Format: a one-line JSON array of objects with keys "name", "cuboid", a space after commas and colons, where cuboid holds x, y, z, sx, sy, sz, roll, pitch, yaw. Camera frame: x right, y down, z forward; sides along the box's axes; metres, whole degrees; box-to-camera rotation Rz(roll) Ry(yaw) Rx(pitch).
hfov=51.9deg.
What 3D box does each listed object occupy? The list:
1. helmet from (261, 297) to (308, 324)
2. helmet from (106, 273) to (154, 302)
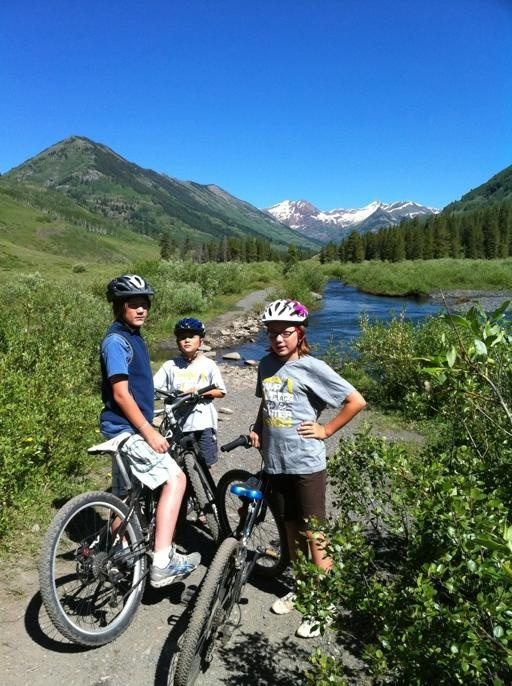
[{"name": "helmet", "cuboid": [0.247, -0.247, 4.366, 0.365, 0.207, 0.362, 5, 9, 4]}, {"name": "helmet", "cuboid": [-1.083, -0.449, 4.480, 0.364, 0.175, 0.256, -3, 4, 26]}]
